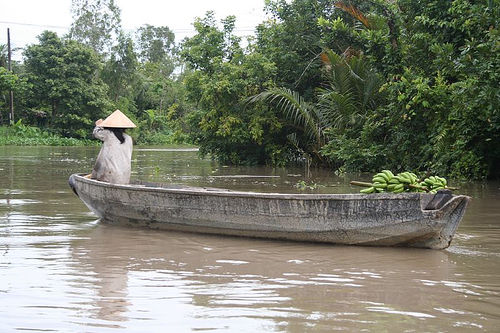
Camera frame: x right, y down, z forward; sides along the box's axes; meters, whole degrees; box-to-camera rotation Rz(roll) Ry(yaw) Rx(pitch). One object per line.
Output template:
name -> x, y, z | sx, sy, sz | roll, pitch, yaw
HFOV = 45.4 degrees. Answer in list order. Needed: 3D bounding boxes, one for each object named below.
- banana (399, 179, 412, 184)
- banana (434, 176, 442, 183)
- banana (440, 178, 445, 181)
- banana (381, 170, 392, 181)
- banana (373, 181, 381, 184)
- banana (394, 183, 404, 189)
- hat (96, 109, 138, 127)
banana -> 2.880, 0.270, 11.075 | 0.302, 0.073, 0.057 | 11, -22, -10
banana -> 3.524, 0.237, 11.201 | 0.077, 0.125, 0.045 | 4, -19, 14
banana -> 3.712, 0.237, 11.546 | 0.080, 0.069, 0.021 | 2, -17, -23
banana -> 2.590, 0.125, 11.338 | 0.080, 0.062, 0.264 | -34, 25, 0
banana -> 2.423, 0.304, 11.378 | 0.041, 0.051, 0.198 | 14, -6, -5
banana -> 2.762, 0.361, 11.049 | 0.211, 0.055, 0.067 | -27, 20, -7
hat -> -2.792, -1.033, 12.596 | 0.830, 0.359, 0.538 | -1, 7, -5
